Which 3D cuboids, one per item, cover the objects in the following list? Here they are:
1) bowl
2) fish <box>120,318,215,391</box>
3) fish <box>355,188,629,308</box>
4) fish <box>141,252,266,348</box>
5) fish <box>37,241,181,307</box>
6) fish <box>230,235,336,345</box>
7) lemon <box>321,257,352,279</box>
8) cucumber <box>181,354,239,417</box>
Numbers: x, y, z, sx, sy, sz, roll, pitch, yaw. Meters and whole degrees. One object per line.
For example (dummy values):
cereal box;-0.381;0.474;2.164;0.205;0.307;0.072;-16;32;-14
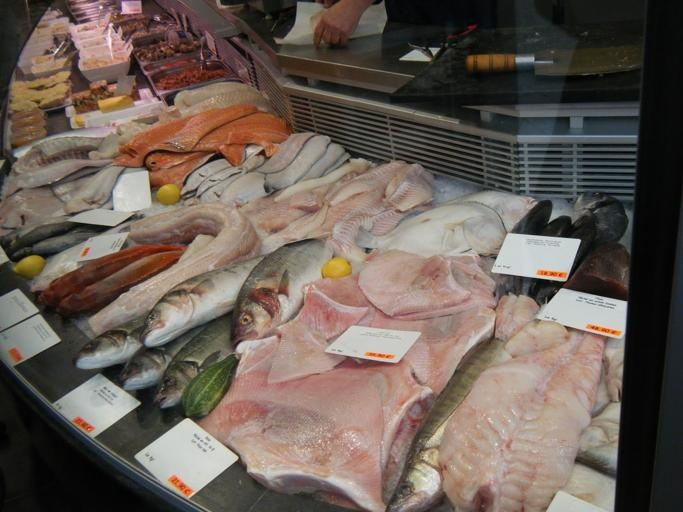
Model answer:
bowl;-1.458;-1.272;3.004;0.420;0.217;0.609;-12;44;-16
fish;-0.341;0.233;1.169;0.315;0.051;0.111;-31;7;-42
fish;0.369;-0.046;1.179;0.451;0.125;0.286;11;33;41
fish;-0.327;0.120;1.240;0.115;0.123;0.495;-22;-2;27
fish;-0.624;0.070;1.387;0.324;0.058;0.199;-27;30;-29
fish;-0.106;0.074;1.259;0.155;0.096;0.380;16;44;22
lemon;-0.013;0.032;1.180;0.055;0.030;0.059;7;32;22
cucumber;-0.259;0.279;1.035;0.068;0.045;0.140;39;51;11
